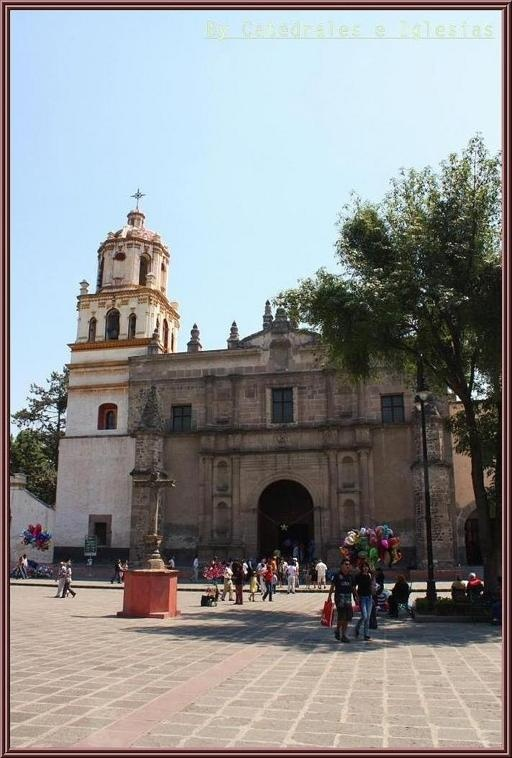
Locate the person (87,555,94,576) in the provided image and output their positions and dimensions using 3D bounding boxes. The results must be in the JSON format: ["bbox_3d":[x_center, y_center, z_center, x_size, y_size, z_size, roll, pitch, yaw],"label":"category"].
[{"bbox_3d":[-7.528,8.452,33.091,0.378,0.921,1.162,2,-12,-13],"label":"person"}]

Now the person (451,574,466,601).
[{"bbox_3d":[4.350,4.463,15.610,0.271,0.461,1.048,-4,-13,15],"label":"person"}]
